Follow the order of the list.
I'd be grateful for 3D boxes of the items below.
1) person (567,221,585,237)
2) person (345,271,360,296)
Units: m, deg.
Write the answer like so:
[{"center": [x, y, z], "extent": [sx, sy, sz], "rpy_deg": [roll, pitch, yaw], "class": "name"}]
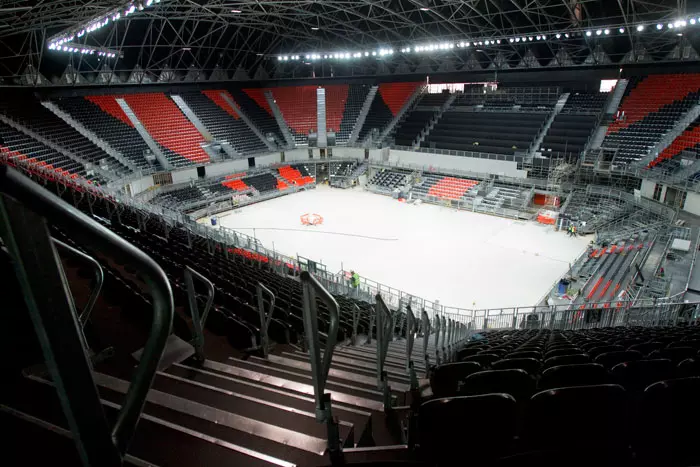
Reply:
[{"center": [11.527, -0.240, 22.152], "extent": [0.865, 0.718, 0.195], "rpy_deg": [7, -19, 6], "class": "person"}, {"center": [0.003, 1.726, 14.655], "extent": [0.254, 0.757, 0.581], "rpy_deg": [-6, -16, 23], "class": "person"}]
